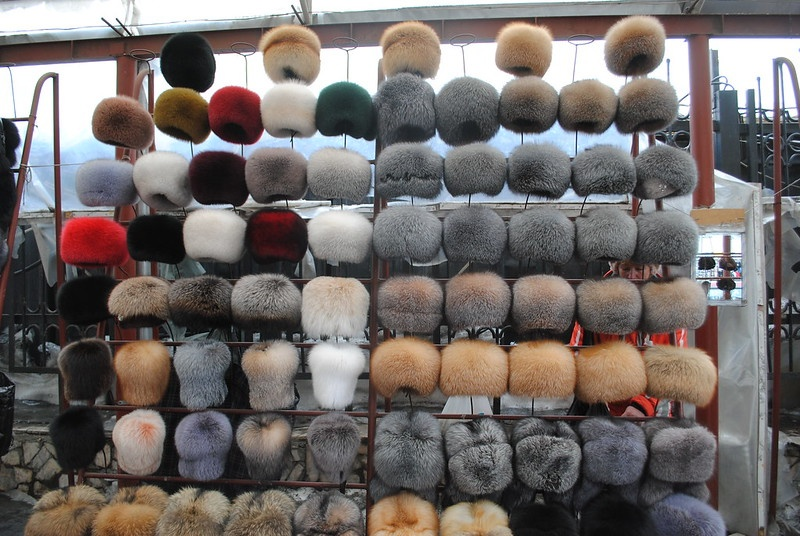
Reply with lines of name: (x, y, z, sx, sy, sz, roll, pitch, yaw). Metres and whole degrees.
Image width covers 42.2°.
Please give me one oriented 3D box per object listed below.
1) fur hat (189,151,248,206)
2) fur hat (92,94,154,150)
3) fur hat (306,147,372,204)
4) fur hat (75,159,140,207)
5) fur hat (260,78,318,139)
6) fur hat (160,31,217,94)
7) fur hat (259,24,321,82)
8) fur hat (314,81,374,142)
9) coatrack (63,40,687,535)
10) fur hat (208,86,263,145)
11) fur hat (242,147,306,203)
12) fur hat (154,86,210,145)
fur hat: (-1.403, -0.696, 7.992, 0.396, 0.354, 0.396, 0, -3, -26)
fur hat: (-2.131, -1.096, 8.192, 0.350, 0.361, 0.437, -39, -23, 5)
fur hat: (-0.463, -0.717, 8.057, 0.411, 0.267, 0.418, 3, 6, -3)
fur hat: (-2.264, -0.694, 8.283, 0.519, 0.400, 0.507, 0, 3, -6)
fur hat: (-0.881, -1.222, 8.009, 0.393, 0.327, 0.403, -1, 3, -28)
fur hat: (-1.734, -1.601, 8.283, 0.477, 0.546, 0.399, -9, 3, -30)
fur hat: (-0.844, -1.662, 8.034, 0.381, 0.375, 0.470, -1, 9, -4)
fur hat: (-0.421, -1.204, 7.955, 0.419, 0.348, 0.410, 3, 1, 16)
coatrack: (-0.150, 0.255, 7.943, 3.797, 3.877, 0.509, 1, 1, 2)
fur hat: (-1.300, -1.166, 8.101, 0.399, 0.348, 0.417, 4, -22, -23)
fur hat: (-0.970, -0.729, 8.154, 0.500, 0.454, 0.500, -5, 2, 10)
fur hat: (-1.709, -1.238, 8.227, 0.478, 0.389, 0.478, 7, -13, -26)
